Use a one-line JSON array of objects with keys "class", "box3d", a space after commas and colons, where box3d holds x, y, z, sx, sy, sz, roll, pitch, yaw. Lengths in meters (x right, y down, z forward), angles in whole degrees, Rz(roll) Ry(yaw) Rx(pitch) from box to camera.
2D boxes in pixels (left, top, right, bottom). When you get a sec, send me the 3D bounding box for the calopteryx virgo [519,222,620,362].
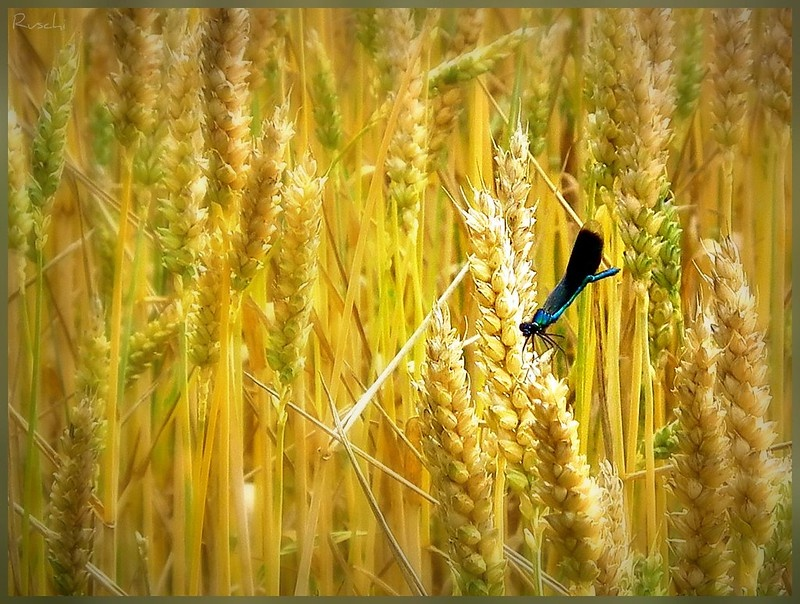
[{"class": "calopteryx virgo", "box3d": [0.370, -0.013, 2.400, 0.240, 0.264, 0.132, -1, 35, 7]}]
